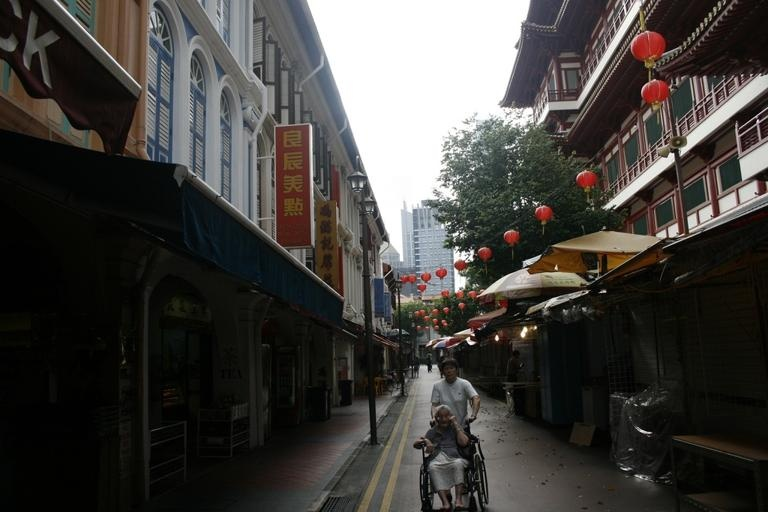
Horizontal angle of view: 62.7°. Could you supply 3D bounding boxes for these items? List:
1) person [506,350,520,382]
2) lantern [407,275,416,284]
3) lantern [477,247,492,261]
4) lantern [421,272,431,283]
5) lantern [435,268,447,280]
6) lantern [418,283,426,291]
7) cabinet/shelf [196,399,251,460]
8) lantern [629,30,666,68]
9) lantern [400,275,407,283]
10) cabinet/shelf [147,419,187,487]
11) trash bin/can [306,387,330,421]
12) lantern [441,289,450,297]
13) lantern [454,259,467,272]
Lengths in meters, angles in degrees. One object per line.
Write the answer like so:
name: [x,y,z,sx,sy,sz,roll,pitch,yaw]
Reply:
person: [5.019,4.211,24.443,0.541,1.283,1.692,-9,-17,11]
lantern: [1.598,1.145,35.702,0.392,0.453,0.437,-14,-17,-12]
lantern: [3.843,-0.277,23.979,0.542,0.723,0.602,-4,-9,10]
lantern: [2.301,1.001,34.328,0.486,0.561,0.524,-4,-9,-2]
lantern: [2.875,0.690,31.087,0.539,0.575,0.551,4,-12,-27]
lantern: [2.357,1.783,38.659,0.395,0.376,0.438,1,-12,-15]
cabinet/shelf: [-3.888,4.306,15.495,0.720,1.201,2.229,0,-12,-2]
lantern: [5.583,-4.545,13.364,0.662,0.848,0.731,-4,-9,16]
lantern: [1.255,1.225,37.082,0.434,0.475,0.449,-5,-1,-35]
cabinet/shelf: [-4.095,3.740,11.874,0.592,1.194,1.212,-6,-11,13]
trash bin/can: [-2.113,4.916,21.001,0.654,1.135,1.086,-1,-10,6]
lantern: [4.116,2.428,42.791,0.633,0.415,0.671,-6,-3,32]
lantern: [3.029,0.264,24.988,0.424,0.495,0.521,-2,-7,0]
